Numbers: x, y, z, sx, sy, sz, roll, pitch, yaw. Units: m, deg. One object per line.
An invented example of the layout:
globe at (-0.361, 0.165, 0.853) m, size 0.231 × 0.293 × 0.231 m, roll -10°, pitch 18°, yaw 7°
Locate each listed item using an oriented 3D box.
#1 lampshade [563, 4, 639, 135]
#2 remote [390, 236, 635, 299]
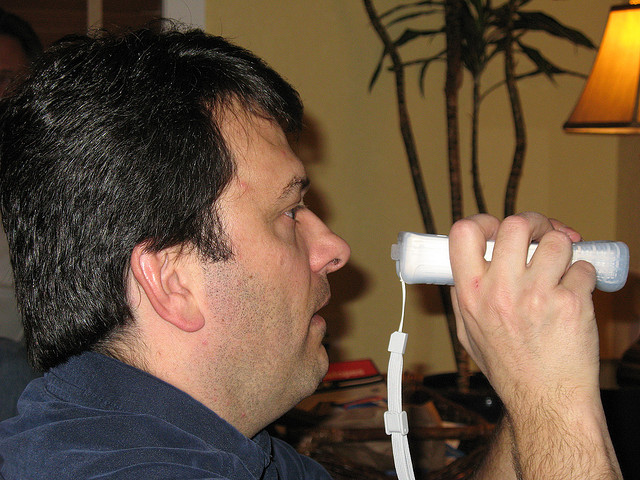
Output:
lampshade at (0.625, -0.398, 1.611) m, size 0.150 × 0.284 × 0.182 m, roll 6°, pitch 14°, yaw 22°
remote at (0.338, 0.041, 1.242) m, size 0.396 × 0.130 × 0.150 m, roll 2°, pitch -2°, yaw -3°
